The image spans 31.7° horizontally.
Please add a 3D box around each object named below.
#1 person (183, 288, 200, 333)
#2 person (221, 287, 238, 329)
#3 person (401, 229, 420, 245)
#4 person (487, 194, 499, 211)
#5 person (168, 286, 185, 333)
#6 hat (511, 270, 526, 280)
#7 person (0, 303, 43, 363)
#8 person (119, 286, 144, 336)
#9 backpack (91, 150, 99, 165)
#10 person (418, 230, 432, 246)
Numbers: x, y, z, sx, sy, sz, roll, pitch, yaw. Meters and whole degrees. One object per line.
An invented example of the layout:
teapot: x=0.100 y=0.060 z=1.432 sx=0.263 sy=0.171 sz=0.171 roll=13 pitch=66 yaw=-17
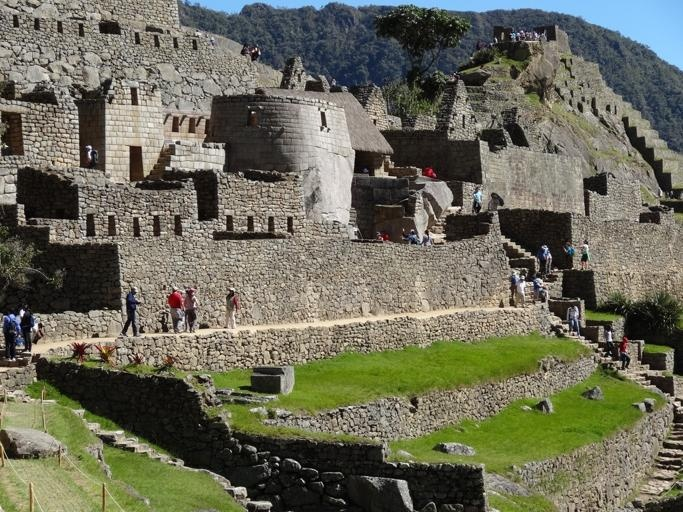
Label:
person: x=-5.076 y=1.783 z=40.311 sx=0.446 sy=1.360 sz=1.088 roll=2 pitch=-1 yaw=-6
person: x=-3.814 y=1.770 z=41.300 sx=0.420 sy=1.261 sz=1.037 roll=2 pitch=-1 yaw=-5
person: x=2.823 y=-0.832 z=50.468 sx=0.327 sy=0.401 sz=0.976 roll=22 pitch=-4 yaw=-18
person: x=7.436 y=-2.744 z=59.273 sx=0.527 sy=0.710 sz=0.863 roll=2 pitch=-1 yaw=13
person: x=-5.530 y=1.762 z=39.996 sx=0.593 sy=1.447 sz=1.036 roll=2 pitch=-1 yaw=-8
hat: x=7.636 y=0.804 z=52.394 sx=0.458 sy=0.270 sz=0.621 roll=1 pitch=4 yaw=-1
person: x=-9.668 y=2.386 z=36.195 sx=1.257 sy=0.922 sz=2.888 roll=1 pitch=-44 yaw=-14
person: x=-6.803 y=1.747 z=38.685 sx=0.548 sy=1.504 sz=1.517 roll=2 pitch=-1 yaw=-10
backpack: x=-9.266 y=-3.748 z=45.072 sx=0.238 sy=0.596 sz=0.770 roll=2 pitch=-1 yaw=-8
person: x=3.478 y=-0.805 z=51.271 sx=0.526 sy=1.097 sz=0.346 roll=4 pitch=26 yaw=10
